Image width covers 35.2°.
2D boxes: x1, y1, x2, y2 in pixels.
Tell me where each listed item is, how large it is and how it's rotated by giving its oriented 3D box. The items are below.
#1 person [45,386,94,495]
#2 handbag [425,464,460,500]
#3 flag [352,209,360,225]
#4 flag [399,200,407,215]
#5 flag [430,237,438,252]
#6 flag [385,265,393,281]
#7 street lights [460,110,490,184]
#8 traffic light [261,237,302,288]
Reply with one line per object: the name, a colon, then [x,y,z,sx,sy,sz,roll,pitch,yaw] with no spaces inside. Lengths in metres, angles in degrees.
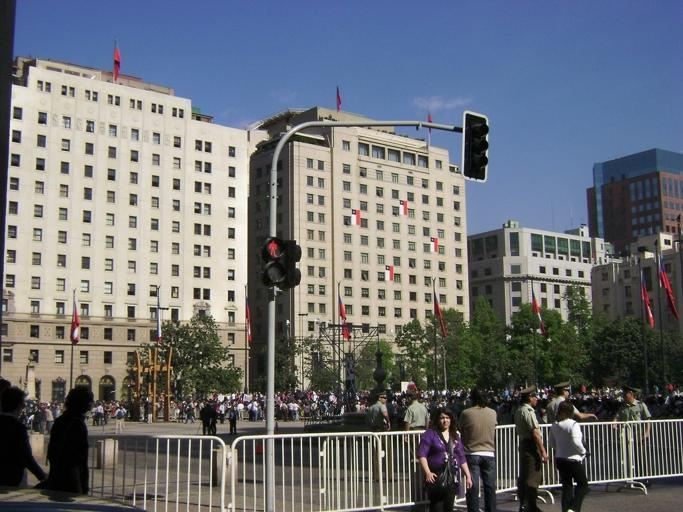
person: [-6.972,4.679,27.450,1.045,2.695,0.494,3,-12,-12]
handbag: [2.679,6.106,29.184,0.751,0.806,0.368,-7,-33,21]
flag: [1.451,-4.314,120.243,0.124,1.614,1.511,-7,-9,31]
flag: [7.085,-5.679,126.688,0.068,1.634,1.549,-10,-12,37]
flag: [10.870,-1.323,128.632,1.583,1.818,0.087,6,-5,-44]
flag: [5.253,1.990,123.201,1.520,1.796,0.078,8,-13,-44]
street lights: [4.228,-3.483,34.203,0.770,2.248,0.586,0,-11,-1]
traffic light: [-1.843,0.227,32.040,1.150,1.547,0.485,1,-11,-6]
